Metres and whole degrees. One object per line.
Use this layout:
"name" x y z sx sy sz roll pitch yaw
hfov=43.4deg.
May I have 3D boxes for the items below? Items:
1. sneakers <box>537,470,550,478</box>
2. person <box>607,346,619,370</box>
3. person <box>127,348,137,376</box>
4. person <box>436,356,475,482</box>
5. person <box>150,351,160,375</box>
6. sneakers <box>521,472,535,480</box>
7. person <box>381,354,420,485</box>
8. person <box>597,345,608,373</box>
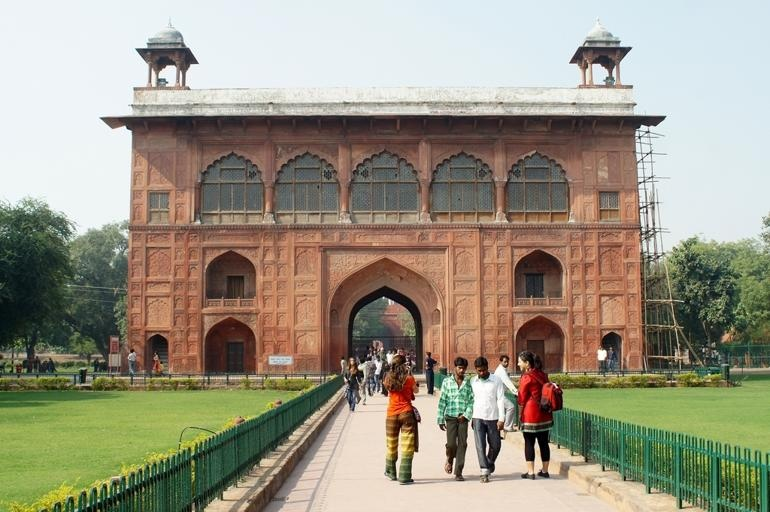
"sneakers" 3.826 5.244 23.395 0.129 0.137 0.326 0 1 -9
"person" 10.331 4.572 43.794 0.502 1.182 1.136 -3 -10 14
"person" -11.067 4.613 42.421 0.381 1.239 1.175 2 -10 -15
"person" 1.731 3.907 23.401 0.857 2.896 0.816 -2 -10 5
"person" -10.068 4.764 42.789 0.442 1.057 1.726 2 -10 -13
"sneakers" 3.446 5.272 23.283 0.134 0.155 0.368 -1 2 -27
"person" 0.378 3.891 23.391 0.787 3.047 1.175 -1 -10 0
"person" 9.689 4.562 43.106 0.479 1.322 1.818 -3 -10 13
